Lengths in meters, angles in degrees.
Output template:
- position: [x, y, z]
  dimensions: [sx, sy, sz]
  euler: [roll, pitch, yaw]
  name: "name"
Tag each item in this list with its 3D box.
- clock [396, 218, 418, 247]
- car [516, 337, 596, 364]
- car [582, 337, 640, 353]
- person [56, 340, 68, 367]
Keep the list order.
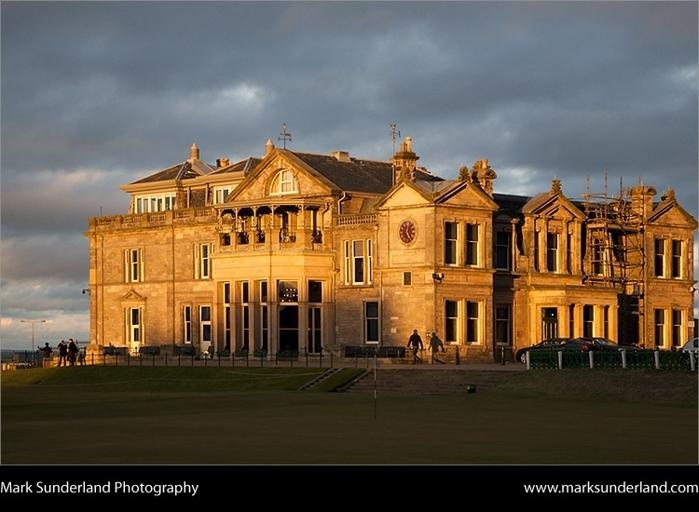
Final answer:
- position: [3.327, -1.306, 90.848]
  dimensions: [0.134, 1.190, 1.161]
  euler: [-4, -47, -49]
  name: "clock"
- position: [10.923, 4.862, 86.587]
  dimensions: [3.608, 0.977, 1.681]
  euler: [-1, -5, 18]
  name: "car"
- position: [13.984, 4.879, 86.812]
  dimensions: [2.966, 0.828, 1.186]
  euler: [-1, -1, -2]
  name: "car"
- position: [-17.316, 5.951, 99.301]
  dimensions: [0.621, 1.367, 1.632]
  euler: [-1, -7, -11]
  name: "person"
